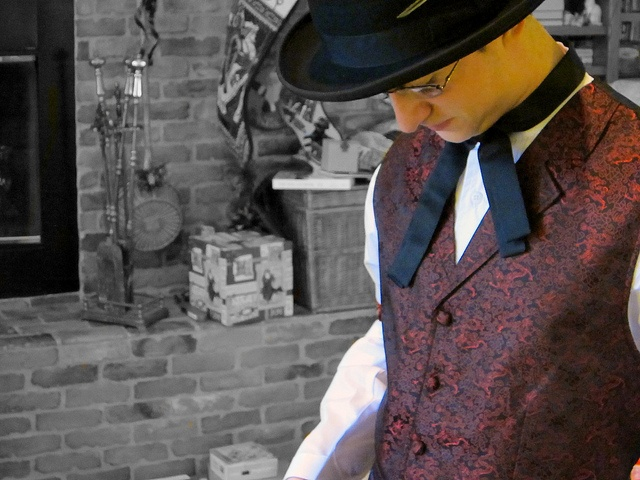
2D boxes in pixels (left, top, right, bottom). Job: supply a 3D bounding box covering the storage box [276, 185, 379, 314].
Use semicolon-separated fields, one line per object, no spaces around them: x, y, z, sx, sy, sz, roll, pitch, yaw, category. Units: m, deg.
0.002;0.022;3.184;0.573;0.614;0.421;-1;3;-10;storage box
